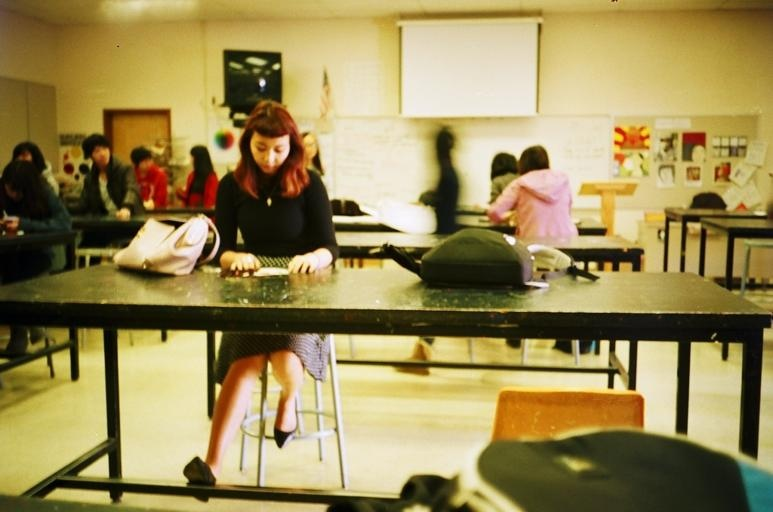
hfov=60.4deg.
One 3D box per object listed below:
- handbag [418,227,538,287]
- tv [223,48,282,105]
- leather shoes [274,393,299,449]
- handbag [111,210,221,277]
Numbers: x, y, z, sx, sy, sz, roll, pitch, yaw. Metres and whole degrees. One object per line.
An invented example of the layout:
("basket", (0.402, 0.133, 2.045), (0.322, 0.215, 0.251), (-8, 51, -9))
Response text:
("handbag", (0.474, -0.013, 3.452), (0.494, 0.216, 0.295), (2, 10, 8))
("tv", (-1.931, -2.514, 9.468), (0.832, 0.811, 0.153), (1, 11, 3))
("leather shoes", (-0.573, 0.940, 3.686), (0.115, 0.331, 0.102), (0, 4, 15))
("handbag", (-1.252, -0.067, 3.690), (0.452, 0.207, 0.377), (6, 16, 10))
